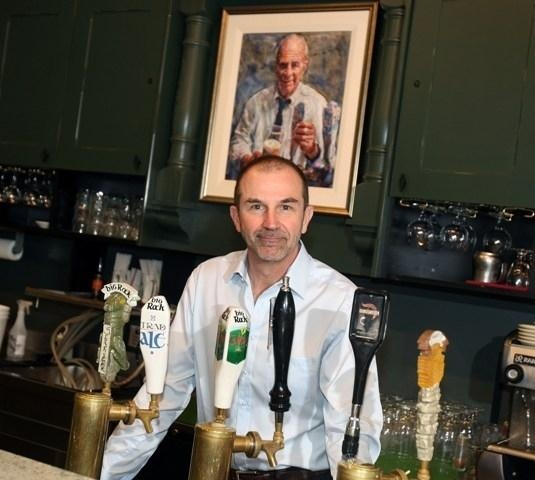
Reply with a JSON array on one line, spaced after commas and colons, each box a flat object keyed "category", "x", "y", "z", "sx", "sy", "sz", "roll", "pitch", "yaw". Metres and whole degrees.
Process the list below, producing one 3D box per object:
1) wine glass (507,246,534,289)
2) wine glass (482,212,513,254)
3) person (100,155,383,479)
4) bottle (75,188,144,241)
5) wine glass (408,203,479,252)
[{"category": "wine glass", "x": 1.087, "y": 0.124, "z": 2.297, "sx": 0.088, "sy": 0.177, "sz": 0.059, "roll": 0, "pitch": -21, "yaw": 30}, {"category": "wine glass", "x": 1.051, "y": -0.029, "z": 2.429, "sx": 0.114, "sy": 0.176, "sz": 0.142, "roll": 5, "pitch": -1, "yaw": 37}, {"category": "person", "x": -0.015, "y": 0.226, "z": 1.550, "sx": 0.728, "sy": 0.975, "sz": 0.821, "roll": 6, "pitch": -1, "yaw": 15}, {"category": "bottle", "x": -0.907, "y": -0.142, "z": 3.133, "sx": 0.458, "sy": 0.286, "sz": 0.120, "roll": 7, "pitch": -3, "yaw": 23}, {"category": "wine glass", "x": 0.815, "y": -0.060, "z": 2.465, "sx": 0.178, "sy": 0.187, "sz": 0.083, "roll": 3, "pitch": 0, "yaw": 12}]
